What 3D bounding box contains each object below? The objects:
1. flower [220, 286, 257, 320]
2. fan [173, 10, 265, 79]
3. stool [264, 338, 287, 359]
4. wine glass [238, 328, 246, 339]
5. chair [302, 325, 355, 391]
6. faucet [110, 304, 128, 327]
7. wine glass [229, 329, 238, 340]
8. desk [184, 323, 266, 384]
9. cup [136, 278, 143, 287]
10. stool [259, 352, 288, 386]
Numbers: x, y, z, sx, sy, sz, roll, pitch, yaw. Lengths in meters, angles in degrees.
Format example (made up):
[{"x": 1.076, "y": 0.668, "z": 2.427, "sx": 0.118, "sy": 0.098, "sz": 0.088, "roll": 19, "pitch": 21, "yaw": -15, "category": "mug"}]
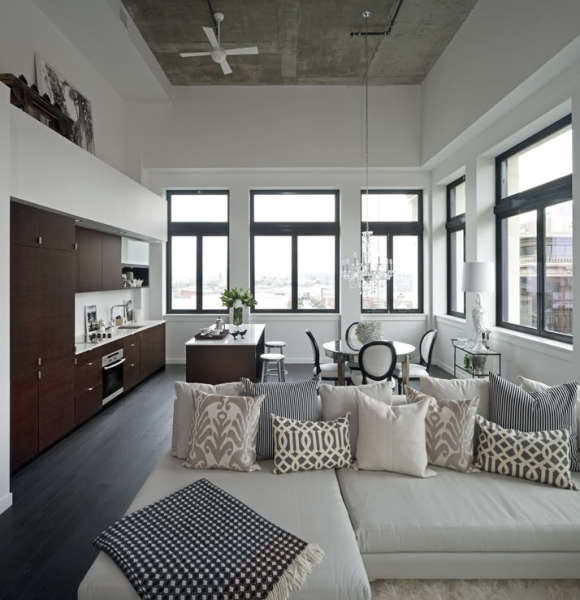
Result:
[{"x": -0.751, "y": 0.051, "z": 6.858, "sx": 0.457, "sy": 0.640, "sz": 0.526, "roll": 1, "pitch": -4, "yaw": -5, "category": "flower"}, {"x": -0.912, "y": -3.303, "z": 5.974, "sx": 0.672, "sy": 0.680, "sz": 0.812, "roll": -1, "pitch": -18, "yaw": -1, "category": "fan"}, {"x": -0.207, "y": 0.698, "z": 6.703, "sx": 0.262, "sy": 0.457, "sz": 0.309, "roll": 0, "pitch": -5, "yaw": -1, "category": "stool"}, {"x": -0.634, "y": 0.453, "z": 6.277, "sx": 0.081, "sy": 0.112, "sz": 0.089, "roll": 6, "pitch": -10, "yaw": -18, "category": "wine glass"}, {"x": 0.472, "y": 0.742, "z": 5.966, "sx": 0.610, "sy": 1.132, "sz": 0.591, "roll": -1, "pitch": -1, "yaw": 2, "category": "chair"}, {"x": -2.521, "y": 0.216, "z": 6.911, "sx": 0.154, "sy": 0.346, "sz": 0.653, "roll": -2, "pitch": 15, "yaw": -9, "category": "faucet"}, {"x": -0.729, "y": 0.454, "z": 6.069, "sx": 0.087, "sy": 0.099, "sz": 0.104, "roll": 1, "pitch": 6, "yaw": 5, "category": "wine glass"}, {"x": -0.796, "y": 0.839, "z": 6.134, "sx": 0.822, "sy": 0.925, "sz": 1.185, "roll": 1, "pitch": 14, "yaw": 3, "category": "desk"}, {"x": -2.377, "y": -0.268, "z": 7.390, "sx": 0.074, "sy": 0.105, "sz": 0.087, "roll": -3, "pitch": -4, "yaw": 27, "category": "cup"}, {"x": -0.245, "y": 0.995, "z": 6.728, "sx": 0.330, "sy": 0.598, "sz": 0.393, "roll": -1, "pitch": -7, "yaw": 1, "category": "stool"}]
